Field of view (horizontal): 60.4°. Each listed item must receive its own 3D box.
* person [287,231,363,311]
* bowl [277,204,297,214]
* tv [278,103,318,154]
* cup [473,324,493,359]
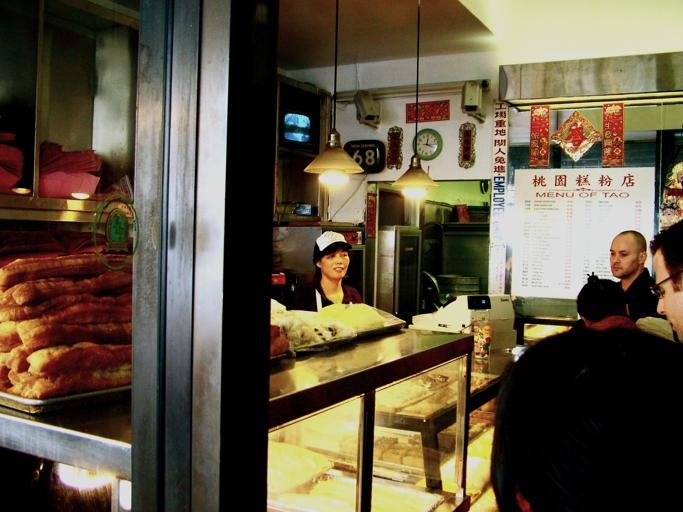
[{"bbox_3d":[-0.184,0.120,4.843,0.742,0.851,0.547,0,-1,-32],"label":"person"},{"bbox_3d":[-0.558,-0.470,5.876,0.193,0.093,0.084,-1,6,-22],"label":"bowl"},{"bbox_3d":[-0.495,-1.342,6.314,0.520,0.463,0.271,-4,10,-33],"label":"tv"},{"bbox_3d":[0.868,0.528,3.656,0.120,0.206,0.114,-1,-3,0],"label":"cup"}]
